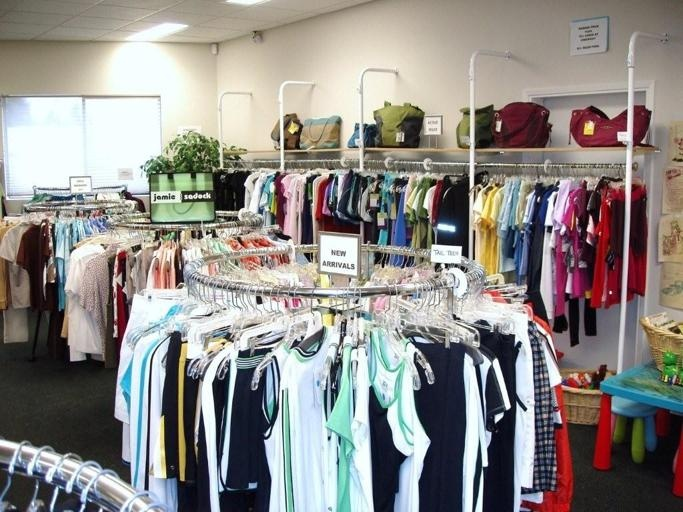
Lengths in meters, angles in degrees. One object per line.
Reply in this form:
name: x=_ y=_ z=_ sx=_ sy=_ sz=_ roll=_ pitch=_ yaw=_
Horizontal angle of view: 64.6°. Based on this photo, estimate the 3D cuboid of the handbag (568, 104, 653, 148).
handbag: x=2.207 y=-1.073 z=4.529 sx=0.633 sy=0.397 sz=0.335 roll=10 pitch=4 yaw=43

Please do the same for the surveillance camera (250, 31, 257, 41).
surveillance camera: x=-1.391 y=-3.488 z=8.512 sx=0.122 sy=0.132 sz=0.075 roll=9 pitch=15 yaw=36

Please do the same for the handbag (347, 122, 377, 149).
handbag: x=0.261 y=-1.439 z=6.383 sx=0.238 sy=0.355 sz=0.127 roll=6 pitch=4 yaw=24

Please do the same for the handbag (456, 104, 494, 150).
handbag: x=1.334 y=-1.287 z=5.446 sx=0.229 sy=0.483 sz=0.436 roll=16 pitch=-5 yaw=-35

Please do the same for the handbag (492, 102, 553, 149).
handbag: x=1.722 y=-1.253 z=5.184 sx=0.544 sy=0.454 sz=0.528 roll=-5 pitch=11 yaw=-16

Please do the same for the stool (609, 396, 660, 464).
stool: x=2.157 y=1.293 z=3.913 sx=0.209 sy=0.263 sz=0.227 roll=-13 pitch=-18 yaw=9

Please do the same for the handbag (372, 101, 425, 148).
handbag: x=0.661 y=-1.485 z=6.132 sx=0.483 sy=0.509 sz=0.210 roll=3 pitch=7 yaw=16

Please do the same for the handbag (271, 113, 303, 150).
handbag: x=-0.781 y=-1.744 z=7.548 sx=0.567 sy=0.480 sz=0.328 roll=9 pitch=12 yaw=42

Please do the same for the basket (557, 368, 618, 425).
basket: x=1.995 y=1.137 z=4.454 sx=0.361 sy=0.219 sz=0.459 roll=6 pitch=7 yaw=34
